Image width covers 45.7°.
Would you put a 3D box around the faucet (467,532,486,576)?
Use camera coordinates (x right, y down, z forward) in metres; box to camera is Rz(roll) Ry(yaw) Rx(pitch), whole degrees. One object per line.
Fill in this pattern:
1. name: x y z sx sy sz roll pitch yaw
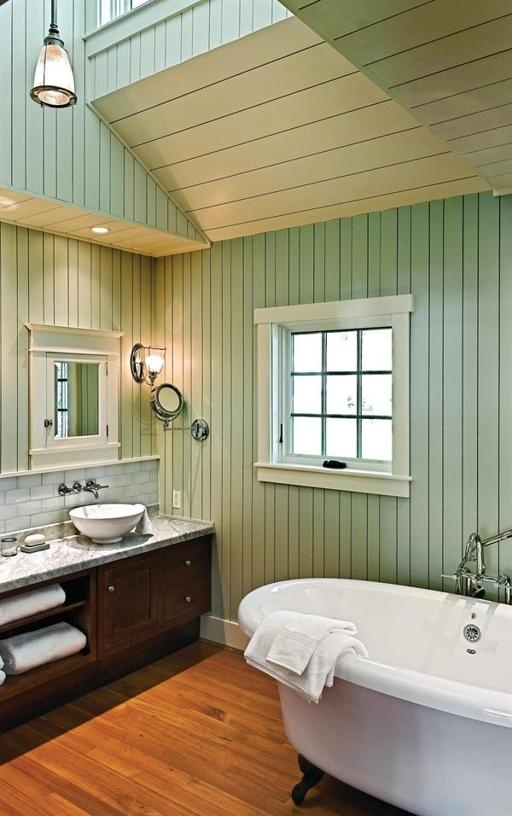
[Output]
1. faucet: 0.891 0.589 2.450 0.069 0.184 0.161 1 1 22

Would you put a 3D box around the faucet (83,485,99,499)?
1. faucet: -0.885 0.459 3.262 0.074 0.093 0.148 0 1 -14

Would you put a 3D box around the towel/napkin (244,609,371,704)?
1. towel/napkin: 0.158 0.749 1.913 0.268 0.141 0.277 6 8 35

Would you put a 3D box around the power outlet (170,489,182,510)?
1. power outlet: -0.477 0.552 3.641 0.080 0.116 0.008 1 1 36

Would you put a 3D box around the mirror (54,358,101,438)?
1. mirror: -0.940 -0.051 3.151 0.015 0.344 0.358 2 -5 21

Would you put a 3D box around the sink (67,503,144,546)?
1. sink: -0.755 0.592 3.112 0.375 0.164 0.496 0 1 -13

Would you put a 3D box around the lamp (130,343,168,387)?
1. lamp: -0.653 -0.236 3.571 0.210 0.334 0.219 0 -1 26

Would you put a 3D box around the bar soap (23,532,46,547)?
1. bar soap: -1.048 0.619 2.854 0.073 0.038 0.054 2 -5 -38

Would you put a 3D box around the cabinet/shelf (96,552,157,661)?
1. cabinet/shelf: -0.641 0.960 3.050 0.317 0.547 0.348 -2 -2 31
